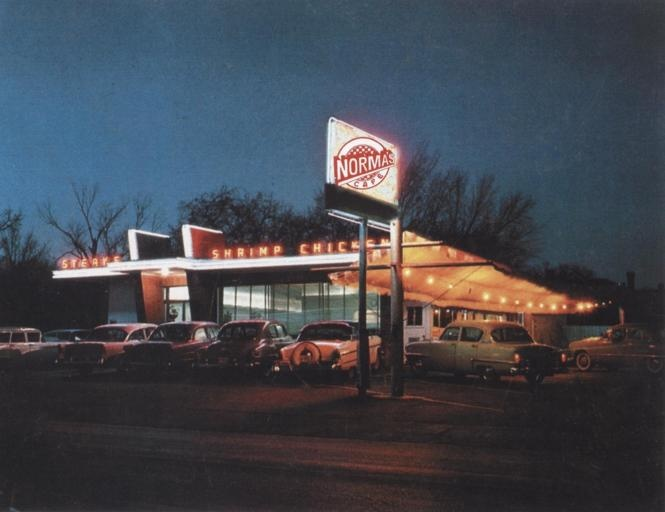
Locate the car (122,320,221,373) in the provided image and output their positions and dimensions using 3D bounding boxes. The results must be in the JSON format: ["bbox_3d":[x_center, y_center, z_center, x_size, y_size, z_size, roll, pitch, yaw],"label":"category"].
[{"bbox_3d":[-4.837,2.752,22.859,1.336,1.123,3.189,-1,-9,12],"label":"car"}]

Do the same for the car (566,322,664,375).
[{"bbox_3d":[9.319,3.071,24.938,2.963,1.465,1.740,-3,-9,42],"label":"car"}]

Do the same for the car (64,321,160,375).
[{"bbox_3d":[-6.946,3.126,24.470,1.459,1.069,3.029,0,2,21],"label":"car"}]

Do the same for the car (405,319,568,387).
[{"bbox_3d":[4.021,2.599,21.202,1.747,1.360,3.609,9,-9,-44],"label":"car"}]
